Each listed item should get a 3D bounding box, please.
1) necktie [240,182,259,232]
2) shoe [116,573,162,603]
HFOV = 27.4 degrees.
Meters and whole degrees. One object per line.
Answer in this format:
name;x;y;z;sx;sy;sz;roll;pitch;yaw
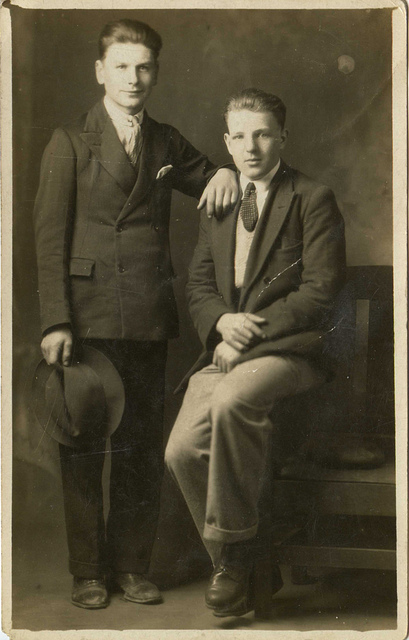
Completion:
necktie;0.163;-0.408;3.023;0.068;0.176;0.026;2;3;1
shoe;-0.233;0.951;2.972;0.167;0.066;0.076;4;-5;29
